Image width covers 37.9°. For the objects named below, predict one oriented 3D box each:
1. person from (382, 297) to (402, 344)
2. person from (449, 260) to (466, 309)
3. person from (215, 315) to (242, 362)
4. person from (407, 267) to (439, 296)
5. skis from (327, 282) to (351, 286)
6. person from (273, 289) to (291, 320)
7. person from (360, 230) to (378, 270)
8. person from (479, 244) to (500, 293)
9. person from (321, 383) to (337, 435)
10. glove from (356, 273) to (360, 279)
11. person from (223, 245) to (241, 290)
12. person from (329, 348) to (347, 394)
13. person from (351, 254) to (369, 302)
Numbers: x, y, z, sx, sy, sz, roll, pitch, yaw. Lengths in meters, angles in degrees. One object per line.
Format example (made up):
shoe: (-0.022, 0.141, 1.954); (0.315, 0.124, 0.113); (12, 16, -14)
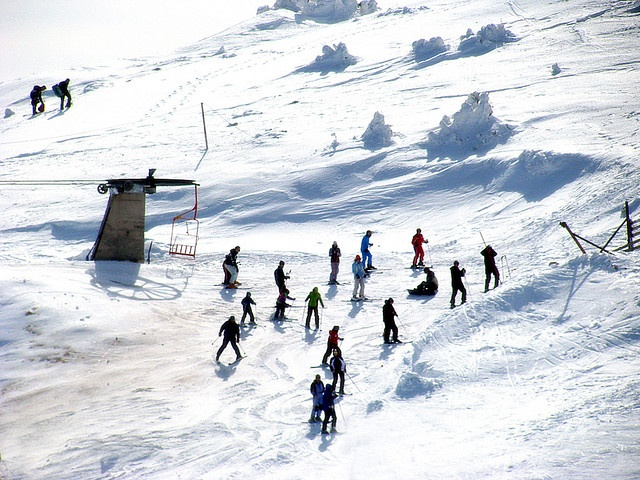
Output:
person: (3.952, 4.484, 51.882); (0.955, 2.540, 1.122); (2, 5, 3)
person: (7.904, 2.542, 53.444); (0.918, 2.630, 1.278); (2, 5, 7)
person: (-5.017, 5.419, 51.338); (1.423, 2.479, 0.894); (0, 5, -10)
person: (6.210, 2.517, 55.477); (1.561, 1.590, 0.551); (1, 5, 3)
skis: (1.115, 2.722, 57.570); (1.754, 0.137, 0.212); (3, -6, -20)
person: (-2.270, 3.749, 54.584); (0.831, 1.799, 0.554); (1, 5, -1)
person: (3.107, 0.754, 59.493); (1.426, 0.969, 2.720); (-8, -27, 3)
person: (9.798, 1.672, 53.829); (1.073, 2.612, 1.244); (2, 5, 8)
person: (0.456, 8.671, 47.876); (0.728, 2.560, 0.343); (1, 5, -4)
glove: (2.220, 2.184, 55.281); (0.337, 0.274, 0.129); (1, 5, 1)
person: (-5.557, 1.691, 57.828); (0.939, 2.511, 1.031); (1, 5, -4)
person: (0.914, 6.938, 49.260); (0.771, 2.478, 1.162); (1, 5, 1)
person: (2.279, 2.220, 55.586); (0.759, 2.647, 1.480); (1, 5, 2)
